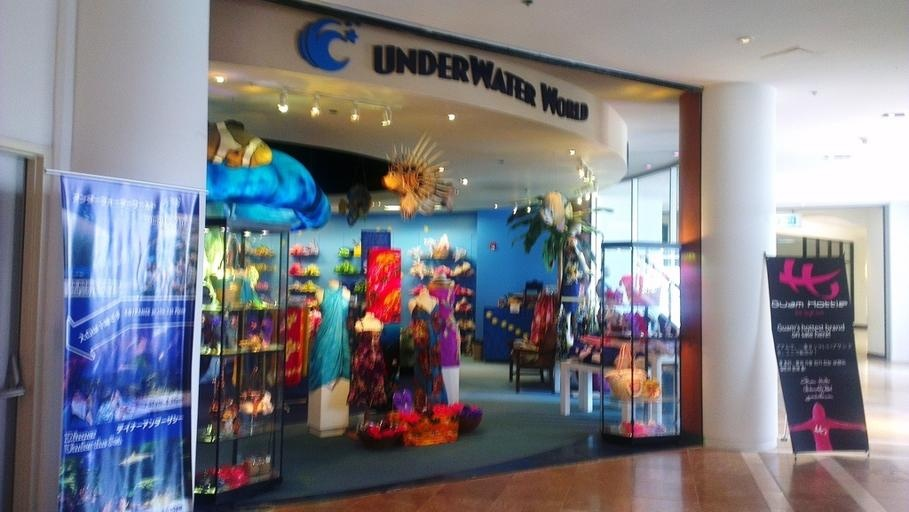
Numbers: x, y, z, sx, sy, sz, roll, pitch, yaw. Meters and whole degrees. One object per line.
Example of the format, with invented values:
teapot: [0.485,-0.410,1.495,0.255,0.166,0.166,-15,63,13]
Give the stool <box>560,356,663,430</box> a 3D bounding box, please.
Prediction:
stool: [2.257,1.957,9.053,0.641,0.723,1.159,0,0,-31]

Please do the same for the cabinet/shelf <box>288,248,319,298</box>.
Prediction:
cabinet/shelf: [-2.692,0.225,11.159,0.465,0.881,0.897,-3,7,-34]

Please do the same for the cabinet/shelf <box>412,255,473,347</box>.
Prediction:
cabinet/shelf: [-0.281,1.263,14.901,1.664,2.667,0.976,0,23,-2]

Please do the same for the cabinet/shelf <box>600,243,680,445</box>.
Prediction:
cabinet/shelf: [2.552,1.137,8.738,1.120,2.641,0.575,2,6,7]
